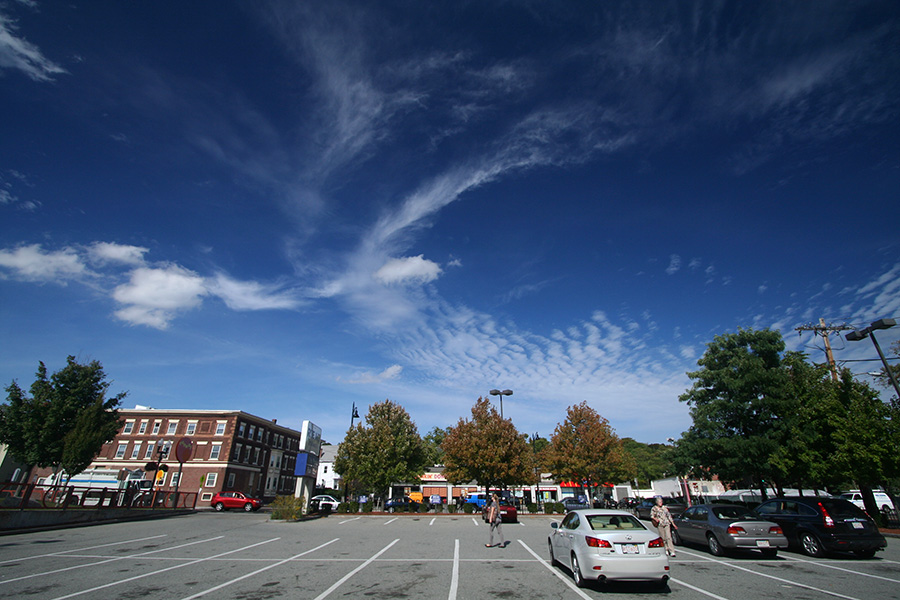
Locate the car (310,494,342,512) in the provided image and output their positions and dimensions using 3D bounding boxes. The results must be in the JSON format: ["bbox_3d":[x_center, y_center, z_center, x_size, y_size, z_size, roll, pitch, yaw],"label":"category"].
[{"bbox_3d":[-12.988,20.594,42.131,2.519,1.812,9.930,7,-29,-15],"label":"car"}]

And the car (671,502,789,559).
[{"bbox_3d":[11.624,9.587,17.300,1.653,1.865,3.597,12,-30,-23],"label":"car"}]

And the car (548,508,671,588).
[{"bbox_3d":[5.194,8.008,13.480,3.377,2.170,2.118,-12,-29,21],"label":"car"}]

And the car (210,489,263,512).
[{"bbox_3d":[-21.049,19.402,39.878,4.692,1.860,1.704,-5,-27,7],"label":"car"}]
